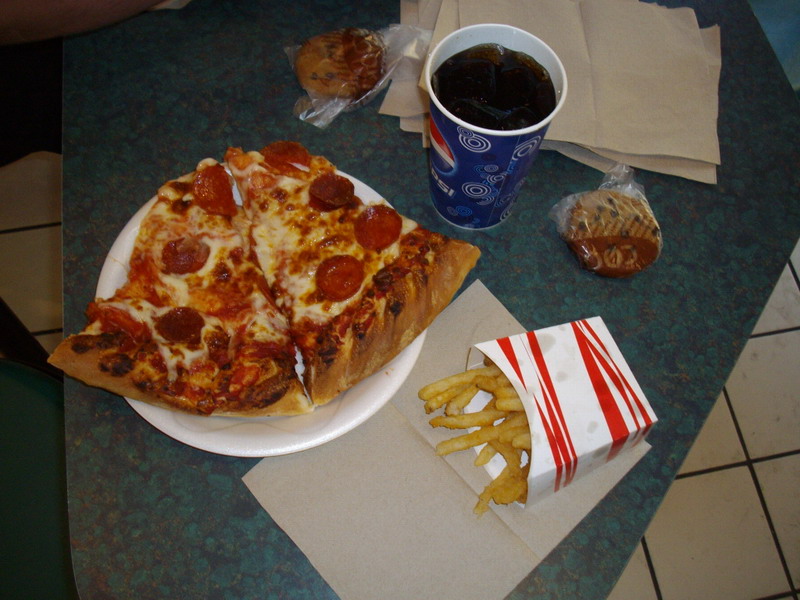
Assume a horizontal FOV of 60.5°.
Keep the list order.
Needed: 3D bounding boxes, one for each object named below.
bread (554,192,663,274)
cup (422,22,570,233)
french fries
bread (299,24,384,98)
[{"bbox_3d":[0.497,-0.156,1.609,0.264,0.105,0.196,6,80,2],"label":"bread"},{"bbox_3d":[0.203,-0.368,1.498,0.249,0.343,0.284,34,71,12],"label":"cup"},{"bbox_3d":[0.162,0.270,1.471,0.256,0.064,0.254,24,72,8],"label":"french fries"},{"bbox_3d":[-0.141,-0.584,1.657,0.185,0.080,0.166,1,86,-3],"label":"bread"}]
